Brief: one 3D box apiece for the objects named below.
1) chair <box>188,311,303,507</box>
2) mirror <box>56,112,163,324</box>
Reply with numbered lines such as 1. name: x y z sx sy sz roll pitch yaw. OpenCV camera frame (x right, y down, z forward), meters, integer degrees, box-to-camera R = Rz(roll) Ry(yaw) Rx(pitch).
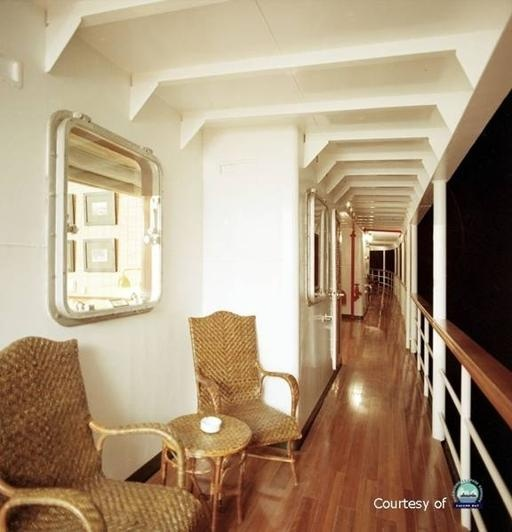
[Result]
1. chair: -0.102 0.918 3.020 0.564 1.316 0.641 -1 -8 -29
2. mirror: -0.912 -0.283 2.639 0.154 1.492 1.169 1 2 12
